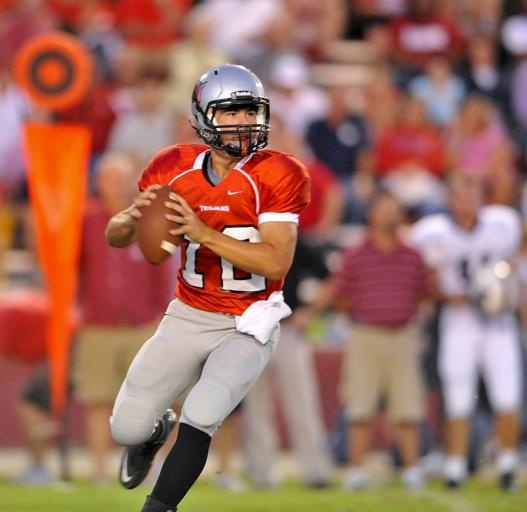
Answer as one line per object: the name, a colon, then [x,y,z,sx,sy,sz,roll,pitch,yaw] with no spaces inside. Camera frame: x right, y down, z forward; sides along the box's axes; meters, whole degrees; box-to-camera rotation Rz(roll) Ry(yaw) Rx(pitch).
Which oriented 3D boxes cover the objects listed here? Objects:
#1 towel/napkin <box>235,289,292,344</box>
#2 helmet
towel/napkin: [0.023,0.240,3.983,0.216,0.186,0.191,5,16,31]
helmet: [-0.188,-0.641,4.079,0.327,0.331,0.311,-3,19,-11]
